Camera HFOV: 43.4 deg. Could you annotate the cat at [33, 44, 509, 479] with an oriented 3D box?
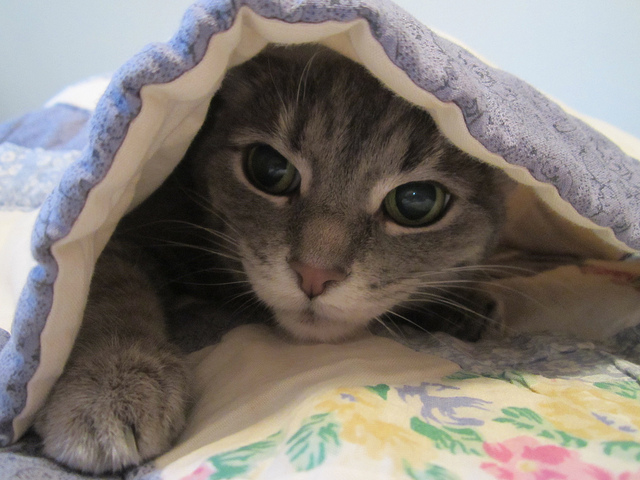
[{"bbox_3d":[-0.049,0.016,1.387,0.575,0.321,0.900,-1,33,-2],"label":"cat"}]
